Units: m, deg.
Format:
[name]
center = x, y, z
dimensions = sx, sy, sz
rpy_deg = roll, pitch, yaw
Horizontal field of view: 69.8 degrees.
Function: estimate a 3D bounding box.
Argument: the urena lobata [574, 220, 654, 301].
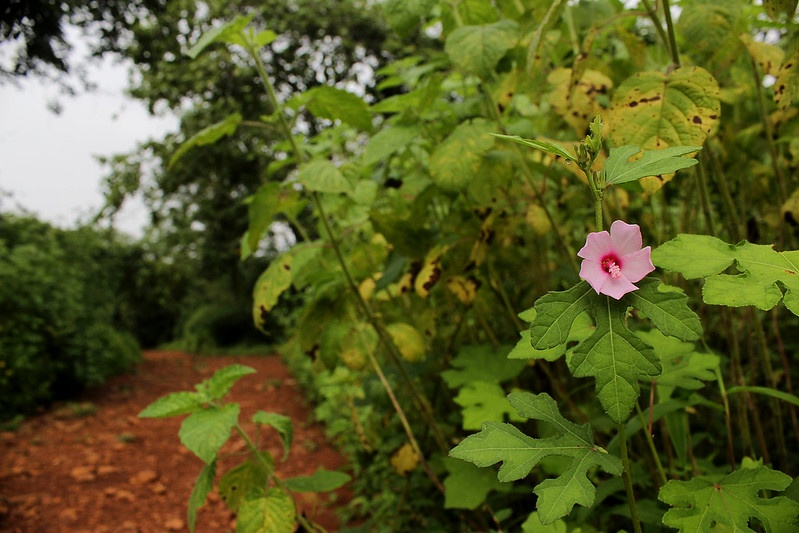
[urena lobata]
center = 0.475, -0.051, 1.291
dimensions = 0.151, 0.092, 0.161
rpy_deg = 9, -3, 18
